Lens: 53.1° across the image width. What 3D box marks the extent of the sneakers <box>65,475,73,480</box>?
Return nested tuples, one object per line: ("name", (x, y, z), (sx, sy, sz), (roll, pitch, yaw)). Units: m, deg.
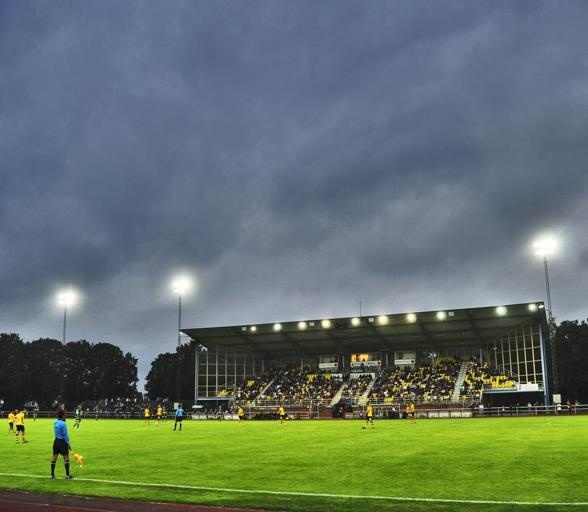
("sneakers", (-6.345, 6.237, 16.548), (0.303, 0.116, 0.098), (3, -4, -14))
